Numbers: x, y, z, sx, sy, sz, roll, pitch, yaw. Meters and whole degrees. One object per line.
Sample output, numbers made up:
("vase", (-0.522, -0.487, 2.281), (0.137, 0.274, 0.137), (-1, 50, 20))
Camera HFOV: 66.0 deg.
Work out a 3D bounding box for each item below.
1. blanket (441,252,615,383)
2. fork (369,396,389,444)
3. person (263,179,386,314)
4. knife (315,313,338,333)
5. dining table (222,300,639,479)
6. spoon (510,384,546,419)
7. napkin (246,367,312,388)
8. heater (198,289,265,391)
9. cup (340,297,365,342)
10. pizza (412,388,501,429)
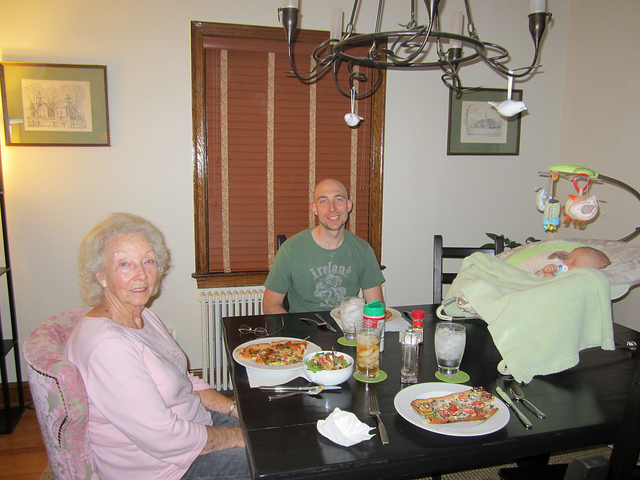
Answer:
("blanket", (0.836, 0.299, 2.054), (0.448, 0.287, 0.570), (-5, 10, -11))
("fork", (0.203, 0.628, 1.690), (0.022, 0.022, 0.151), (2, 32, -11))
("person", (0.002, 0.043, 2.782), (0.702, 0.736, 0.232), (-5, 12, -15))
("knife", (0.028, 0.405, 2.376), (0.035, 0.028, 0.237), (1, 11, -18))
("dining table", (0.394, 0.465, 2.035), (1.611, 0.446, 0.950), (-3, 11, -8))
("spoon", (0.750, 0.580, 1.778), (0.036, 0.029, 0.160), (-8, 18, -11))
("napkin", (-0.166, 0.537, 1.931), (0.251, 0.035, 0.110), (-2, 11, -3))
("heater", (-0.627, 0.728, 3.507), (0.458, 0.744, 0.180), (-3, 12, -8))
("cup", (0.134, 0.367, 2.220), (0.156, 0.256, 0.158), (1, -3, 0))
("pizza", (0.486, 0.598, 1.737), (0.198, 0.034, 0.125), (-6, 11, -19))
